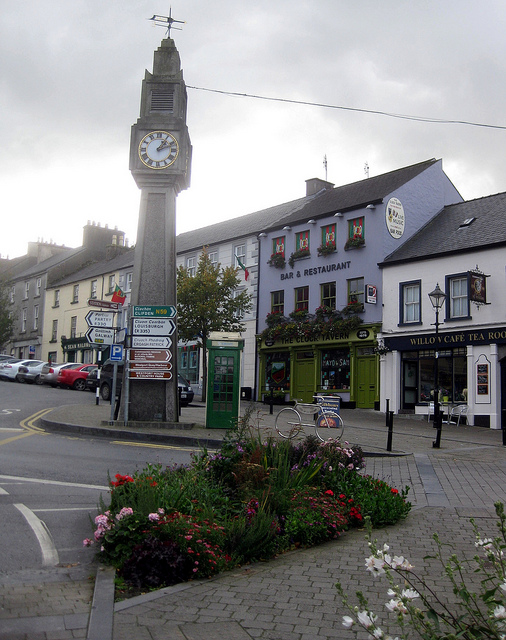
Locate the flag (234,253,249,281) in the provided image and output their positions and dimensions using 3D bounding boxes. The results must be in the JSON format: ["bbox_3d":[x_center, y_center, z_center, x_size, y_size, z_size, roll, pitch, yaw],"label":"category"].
[{"bbox_3d":[-0.710,-3.211,34.985,0.656,1.344,1.124,-1,-5,18],"label":"flag"}]

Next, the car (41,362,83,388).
[{"bbox_3d":[-11.191,3.229,33.849,2.917,0.972,1.195,-1,0,-38],"label":"car"}]

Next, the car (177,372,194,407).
[{"bbox_3d":[-3.212,3.319,26.540,0.878,0.905,2.081,-1,3,-9],"label":"car"}]

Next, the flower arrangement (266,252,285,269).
[{"bbox_3d":[1.330,-3.519,33.182,0.887,0.908,0.348,35,21,34],"label":"flower arrangement"}]

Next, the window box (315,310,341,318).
[{"bbox_3d":[4.125,-0.421,29.722,1.071,0.274,0.233,-3,-6,40],"label":"window box"}]

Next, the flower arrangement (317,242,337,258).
[{"bbox_3d":[4.002,-3.873,30.730,0.384,0.783,1.122,5,-6,-40],"label":"flower arrangement"}]

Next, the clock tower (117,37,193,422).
[{"bbox_3d":[-3.073,-3.590,17.295,2.593,16.105,1.250,0,-1,-35],"label":"clock tower"}]

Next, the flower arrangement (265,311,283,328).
[{"bbox_3d":[1.220,-0.093,32.868,0.903,0.656,0.894,-4,9,-31],"label":"flower arrangement"}]

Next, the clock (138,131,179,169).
[{"bbox_3d":[-2.867,-5.136,17.143,1.196,1.240,0.096,1,-10,0],"label":"clock"}]

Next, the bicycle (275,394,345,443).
[{"bbox_3d":[1.402,2.775,15.957,2.428,1.471,1.234,-1,-3,20],"label":"bicycle"}]

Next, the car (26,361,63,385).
[{"bbox_3d":[-12.995,3.252,35.677,1.017,0.871,2.579,1,4,43],"label":"car"}]

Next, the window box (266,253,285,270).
[{"bbox_3d":[1.436,-3.520,33.248,0.840,0.874,0.323,12,15,38],"label":"window box"}]

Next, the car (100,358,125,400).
[{"bbox_3d":[-6.276,2.602,24.832,0.856,1.866,5.788,2,-5,-16],"label":"car"}]

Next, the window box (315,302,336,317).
[{"bbox_3d":[3.814,-0.519,30.042,0.727,0.563,0.785,13,6,24],"label":"window box"}]

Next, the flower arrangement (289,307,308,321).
[{"bbox_3d":[2.548,-0.368,31.446,0.678,0.524,0.740,3,2,-1],"label":"flower arrangement"}]
